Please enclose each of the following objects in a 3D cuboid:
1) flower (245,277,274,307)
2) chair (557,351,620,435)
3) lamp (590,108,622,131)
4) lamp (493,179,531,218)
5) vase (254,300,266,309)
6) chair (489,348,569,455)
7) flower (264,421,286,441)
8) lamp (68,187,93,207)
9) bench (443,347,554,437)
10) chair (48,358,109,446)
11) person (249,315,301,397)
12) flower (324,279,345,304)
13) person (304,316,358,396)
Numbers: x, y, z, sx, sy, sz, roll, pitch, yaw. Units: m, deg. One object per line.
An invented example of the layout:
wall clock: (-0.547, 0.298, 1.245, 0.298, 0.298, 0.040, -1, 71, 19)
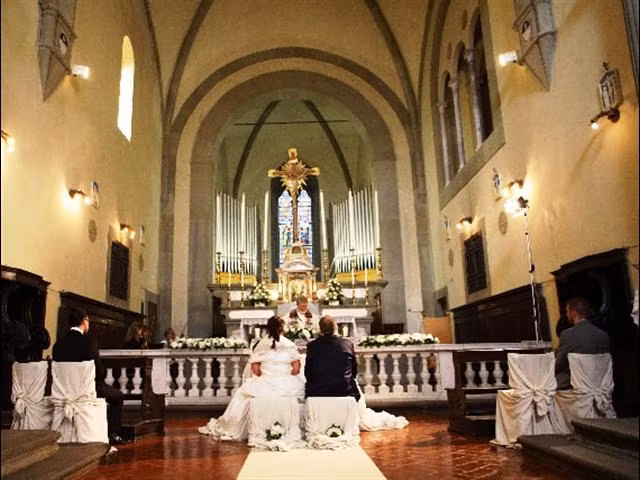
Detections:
flower: (-1.496, 1.296, 13.488, 0.473, 0.562, 0.529, 3, -16, -14)
chair: (3.007, 1.591, 6.292, 0.587, 0.872, 0.643, -7, 10, 26)
lamp: (3.965, -1.660, 7.680, 0.179, 0.244, 0.585, -2, -13, -1)
lamp: (3.615, -0.783, 10.373, 0.280, 0.839, 0.915, -1, -12, -2)
vase: (-1.445, 1.529, 13.262, 0.274, 0.178, 0.105, -5, -12, 10)
chair: (2.442, 1.882, 6.713, 1.024, 1.245, 0.932, 1, -8, 1)
flower: (-0.538, 2.254, 6.520, 0.224, 0.188, 0.222, 4, -14, -26)
lamp: (-4.537, -0.827, 10.334, 0.287, 0.215, 0.575, -2, -13, -1)
bench: (2.540, 2.008, 7.672, 1.435, 1.077, 0.816, -3, -14, -14)
chair: (-2.858, 1.821, 6.525, 0.603, 1.031, 0.657, 6, 9, 10)
person: (-0.536, 1.468, 7.205, 0.817, 1.211, 0.841, 0, -3, -4)
flower: (0.280, 1.273, 13.646, 0.497, 0.593, 0.527, 6, -10, -20)
person: (0.128, 1.578, 6.951, 0.641, 1.135, 0.652, 0, -22, -3)
